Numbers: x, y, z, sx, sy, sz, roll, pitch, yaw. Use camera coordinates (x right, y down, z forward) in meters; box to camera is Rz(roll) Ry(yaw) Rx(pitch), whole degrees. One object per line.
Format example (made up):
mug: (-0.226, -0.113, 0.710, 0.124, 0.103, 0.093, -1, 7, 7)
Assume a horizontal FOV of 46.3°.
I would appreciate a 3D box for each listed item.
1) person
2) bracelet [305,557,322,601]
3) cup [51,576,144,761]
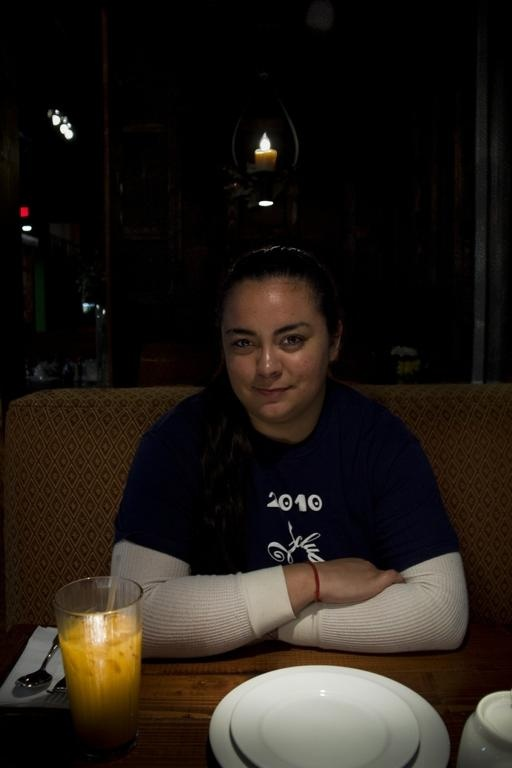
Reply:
person: (0.060, 0.151, 1.214, 0.652, 0.890, 0.596, -2, -10, 4)
bracelet: (0.087, 0.326, 0.986, 0.009, 0.043, 0.040, -1, 17, -19)
cup: (-0.159, 0.295, 0.634, 0.089, 0.127, 0.105, -7, 4, -21)
